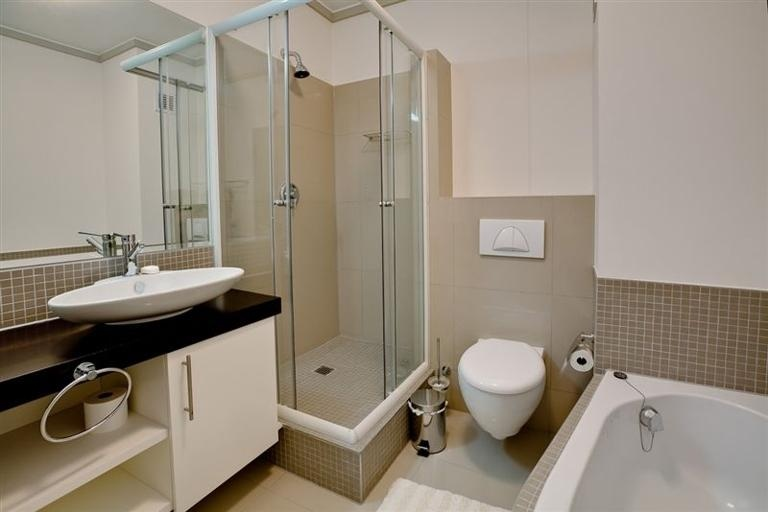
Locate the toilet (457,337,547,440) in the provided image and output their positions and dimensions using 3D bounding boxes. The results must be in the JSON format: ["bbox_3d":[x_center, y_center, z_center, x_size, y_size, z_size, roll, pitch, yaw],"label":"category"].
[{"bbox_3d":[0.724,0.810,3.210,0.518,0.437,0.622,11,26,36],"label":"toilet"}]

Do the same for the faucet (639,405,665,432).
[{"bbox_3d":[1.355,0.825,2.656,0.097,0.123,0.044,-14,-14,9],"label":"faucet"}]

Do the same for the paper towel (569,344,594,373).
[{"bbox_3d":[1.176,0.611,3.181,0.166,0.192,0.146,-4,1,32],"label":"paper towel"}]

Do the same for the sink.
[{"bbox_3d":[-1.153,0.201,2.617,0.506,0.170,0.878,7,14,44],"label":"sink"}]

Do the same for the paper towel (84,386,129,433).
[{"bbox_3d":[-1.379,0.761,2.602,0.191,0.143,0.189,-10,14,-41],"label":"paper towel"}]
